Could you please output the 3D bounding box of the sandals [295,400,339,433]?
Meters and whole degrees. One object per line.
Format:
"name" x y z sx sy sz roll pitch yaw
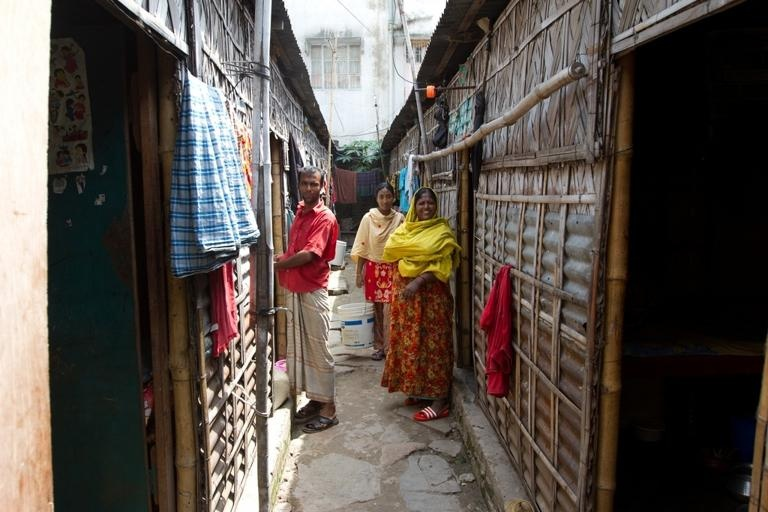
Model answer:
"sandals" -0.651 1.470 5.370 0.216 0.091 0.284 4 2 38

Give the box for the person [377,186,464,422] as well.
"person" 0.323 0.373 5.433 0.794 1.947 0.515 -5 9 0

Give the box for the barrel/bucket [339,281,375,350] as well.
"barrel/bucket" -0.337 0.710 7.076 0.459 0.800 0.524 -6 2 -38

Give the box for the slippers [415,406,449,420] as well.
"slippers" 0.445 1.490 5.498 0.304 0.112 0.121 5 -7 -27

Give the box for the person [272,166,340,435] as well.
"person" -0.651 0.403 5.183 0.583 2.348 0.547 -6 9 -5
